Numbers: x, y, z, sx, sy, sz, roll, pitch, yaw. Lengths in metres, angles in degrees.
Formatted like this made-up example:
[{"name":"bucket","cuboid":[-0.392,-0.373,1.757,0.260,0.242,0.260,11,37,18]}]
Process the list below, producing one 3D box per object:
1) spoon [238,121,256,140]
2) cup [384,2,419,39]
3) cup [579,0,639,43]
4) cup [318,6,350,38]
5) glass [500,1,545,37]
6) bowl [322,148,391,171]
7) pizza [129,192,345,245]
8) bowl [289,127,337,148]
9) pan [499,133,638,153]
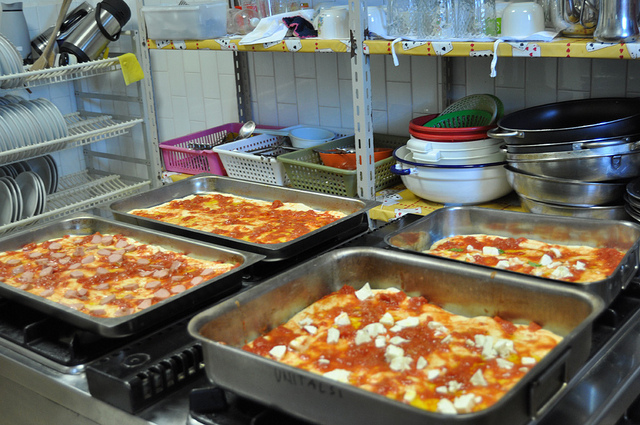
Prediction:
[{"name":"spoon","cuboid":[-0.394,-0.439,2.571,0.092,0.068,0.194,-6,20,-8]},{"name":"cup","cuboid":[0.297,-0.708,1.769,0.125,0.132,0.058,5,21,22]},{"name":"cup","cuboid":[0.855,-0.560,1.433,0.146,0.136,0.093,4,12,37]},{"name":"cup","cuboid":[0.069,-0.765,1.926,0.107,0.121,0.247,-13,22,-25]},{"name":"glass","cuboid":[0.671,-0.628,1.593,0.127,0.111,0.125,-1,18,6]},{"name":"bowl","cuboid":[0.186,-0.249,2.099,0.290,0.087,0.201,-14,22,-28]},{"name":"pizza","cuboid":[-0.322,0.016,1.906,0.524,0.057,0.327,10,20,33]},{"name":"bowl","cuboid":[-0.042,-0.383,2.416,0.159,0.061,0.153,-1,14,0]},{"name":"pan","cuboid":[0.762,-0.240,1.569,0.364,0.045,0.305,-2,12,1]}]
